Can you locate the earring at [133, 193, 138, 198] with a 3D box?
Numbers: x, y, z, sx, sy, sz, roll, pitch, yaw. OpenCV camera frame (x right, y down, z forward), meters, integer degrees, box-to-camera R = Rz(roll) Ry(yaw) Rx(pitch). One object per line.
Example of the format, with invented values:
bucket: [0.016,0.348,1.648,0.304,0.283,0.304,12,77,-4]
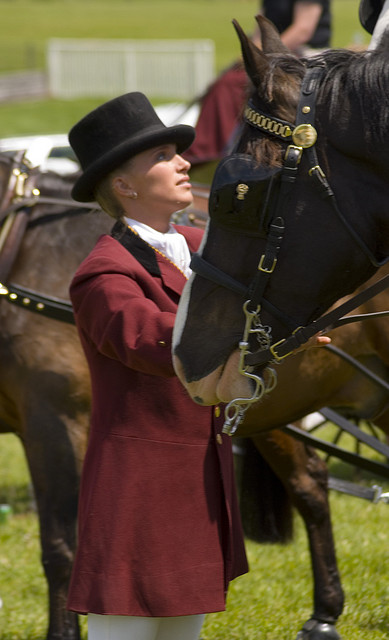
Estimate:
earring: [-0.127,-0.268,1.586,0.008,0.008,0.008,0,3,12]

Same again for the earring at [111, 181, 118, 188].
earring: [-0.173,-0.294,1.603,0.026,0.019,0.005,-2,-1,8]
